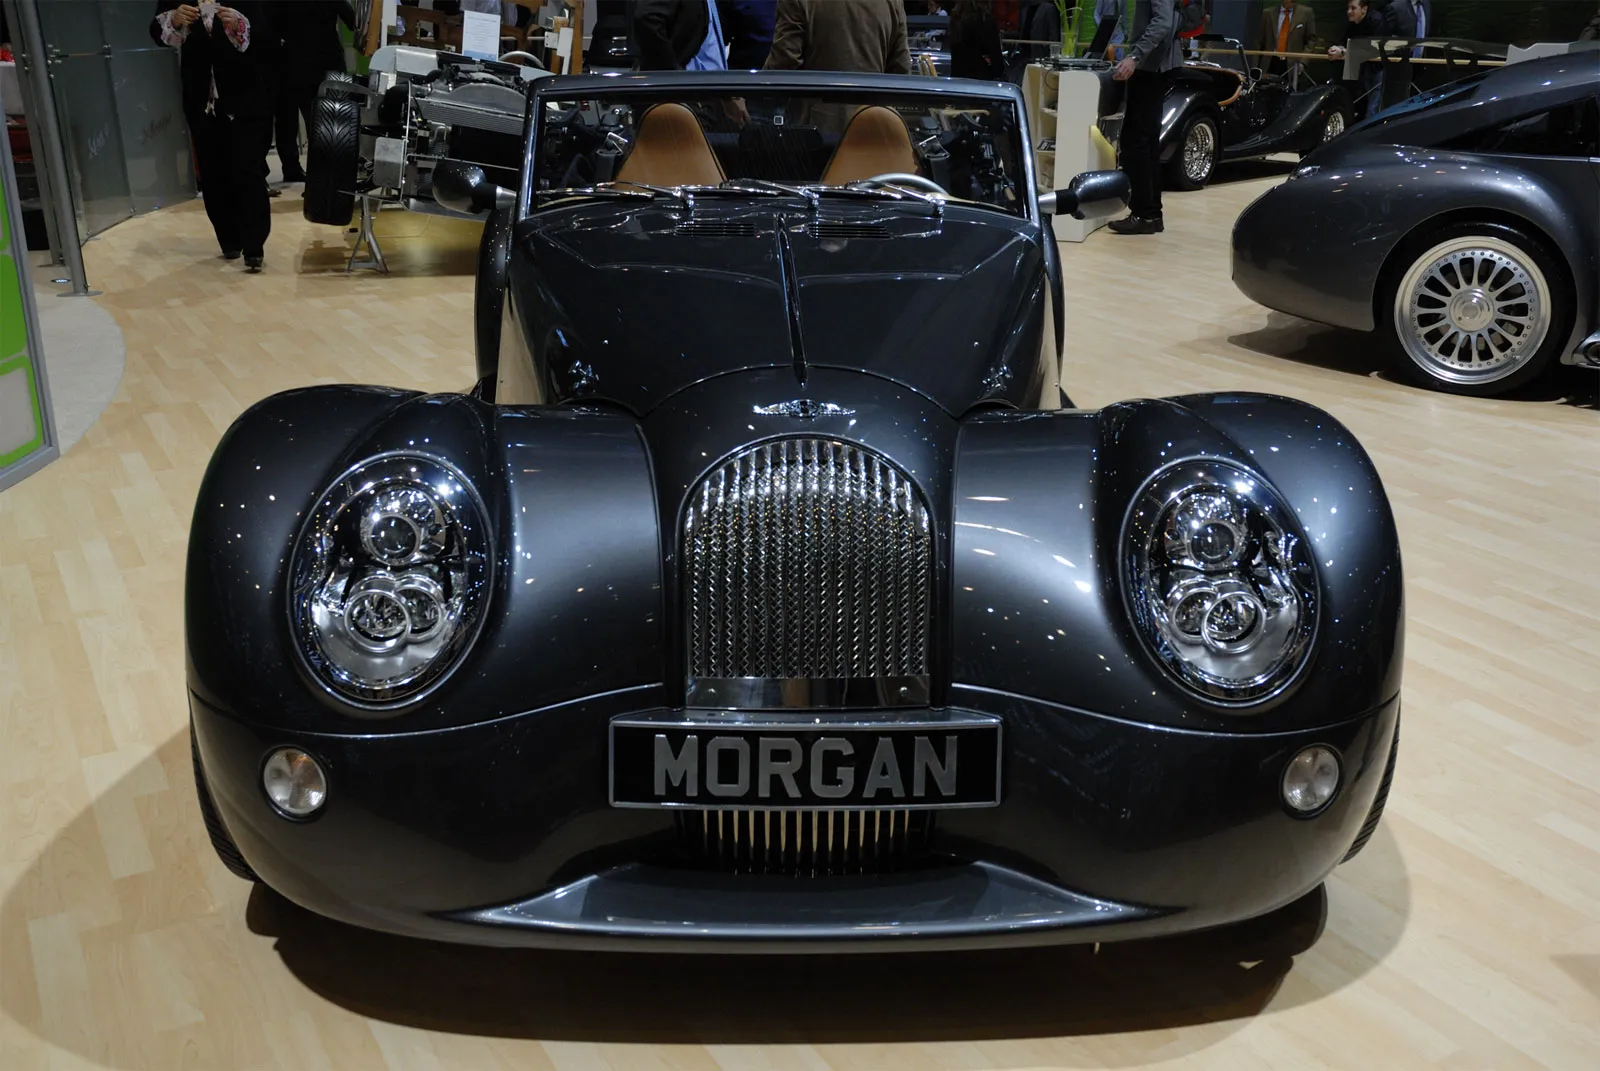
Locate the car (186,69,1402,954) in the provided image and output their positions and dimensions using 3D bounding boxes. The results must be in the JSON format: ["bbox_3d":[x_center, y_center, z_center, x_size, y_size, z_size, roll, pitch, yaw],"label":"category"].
[{"bbox_3d":[-0.221,-0.503,3.526,2.061,1.629,4.012,0,21,-11],"label":"car"}]

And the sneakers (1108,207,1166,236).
[{"bbox_3d":[2.571,-2.393,8.862,0.467,0.195,0.229,2,-22,3],"label":"sneakers"}]
